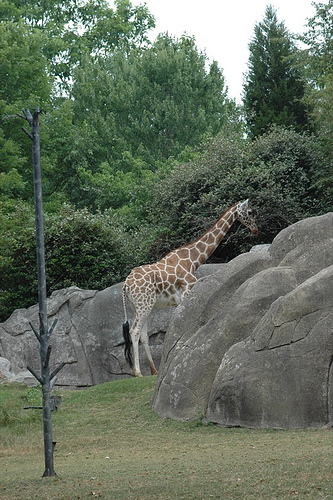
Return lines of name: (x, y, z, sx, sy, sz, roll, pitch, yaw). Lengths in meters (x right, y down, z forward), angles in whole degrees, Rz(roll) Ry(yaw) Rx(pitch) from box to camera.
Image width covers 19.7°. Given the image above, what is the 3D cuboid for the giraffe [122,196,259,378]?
giraffe: (0.161, 0.885, 22.194, 2.619, 3.958, 3.560, -6, -7, 21)
